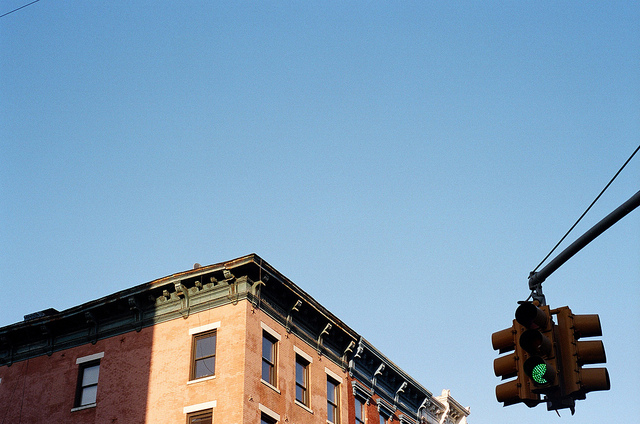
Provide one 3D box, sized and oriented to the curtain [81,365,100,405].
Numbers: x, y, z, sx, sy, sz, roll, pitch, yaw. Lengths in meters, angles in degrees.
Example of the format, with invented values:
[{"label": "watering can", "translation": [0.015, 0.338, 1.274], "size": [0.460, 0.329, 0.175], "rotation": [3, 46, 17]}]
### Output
[{"label": "curtain", "translation": [-11.603, 8.895, 45.304], "size": [1.074, 2.307, 0.092], "rotation": [-24, -43, 24]}]
